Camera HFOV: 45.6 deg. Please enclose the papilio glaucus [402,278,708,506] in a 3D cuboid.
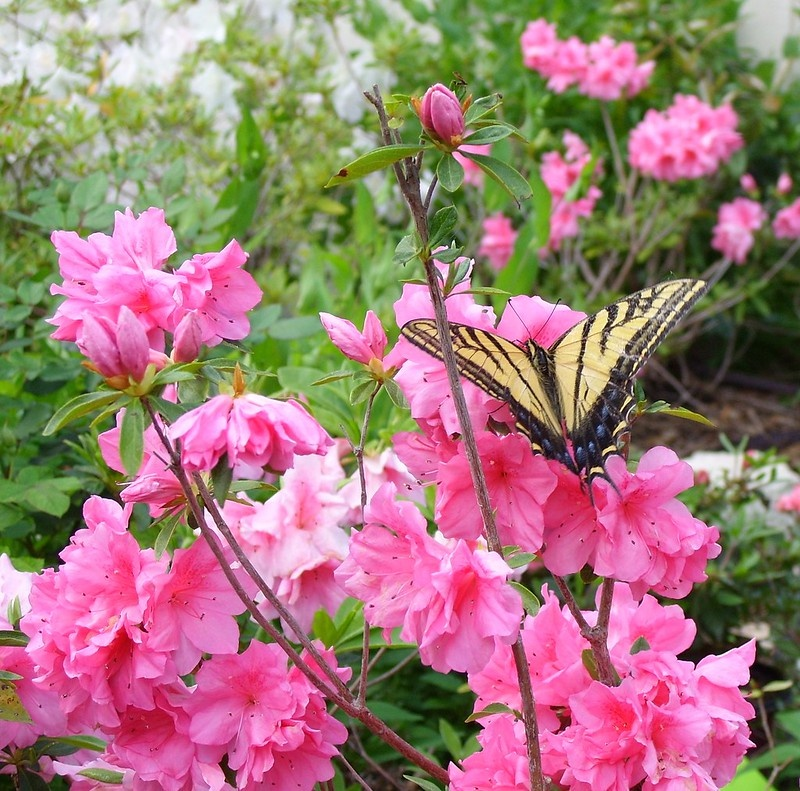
[{"bbox_3d":[0.212,-0.041,1.170,0.239,0.171,0.255,22,45,29],"label":"papilio glaucus"}]
